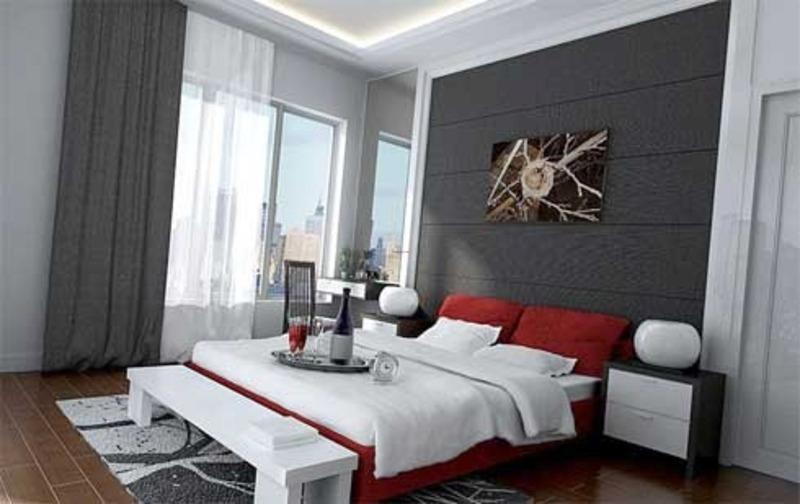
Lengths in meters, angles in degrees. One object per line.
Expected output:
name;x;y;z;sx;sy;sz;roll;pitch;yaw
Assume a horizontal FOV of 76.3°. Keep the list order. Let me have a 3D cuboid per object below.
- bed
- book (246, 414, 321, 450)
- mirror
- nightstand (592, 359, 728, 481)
bed;0.325;1.089;3.701;1.903;0.585;1.942;3;1;-32
book;-0.702;1.093;3.090;0.225;0.055;0.225;3;1;41
mirror;-0.133;-1.021;6.628;0.545;2.640;1.480;-2;14;-31
nightstand;2.132;1.173;4.452;0.798;1.009;1.151;1;3;-36
